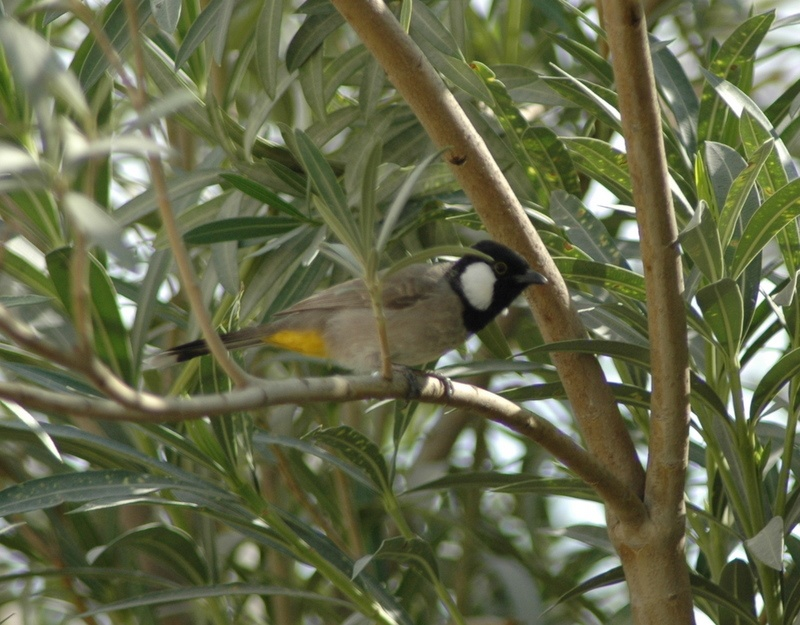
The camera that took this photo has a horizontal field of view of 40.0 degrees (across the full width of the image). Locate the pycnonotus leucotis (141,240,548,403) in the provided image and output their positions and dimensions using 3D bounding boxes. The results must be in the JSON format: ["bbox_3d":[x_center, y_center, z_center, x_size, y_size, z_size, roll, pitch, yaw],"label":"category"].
[{"bbox_3d":[-0.241,0.035,3.522,1.398,0.429,0.599,1,79,-1],"label":"pycnonotus leucotis"}]
